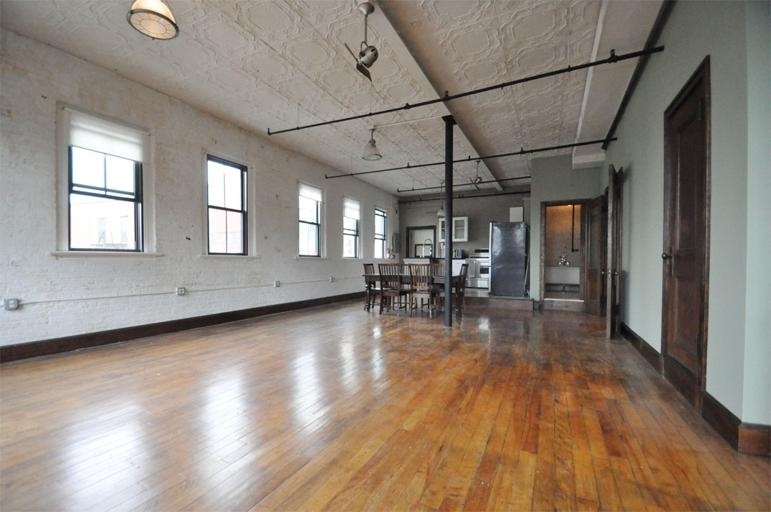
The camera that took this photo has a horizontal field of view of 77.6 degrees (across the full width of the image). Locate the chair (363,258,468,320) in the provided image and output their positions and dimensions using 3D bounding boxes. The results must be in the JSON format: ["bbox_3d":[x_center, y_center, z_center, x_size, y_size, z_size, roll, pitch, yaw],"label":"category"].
[{"bbox_3d":[0.438,0.665,9.800,1.678,1.055,1.924,-2,5,-22],"label":"chair"}]

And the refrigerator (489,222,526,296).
[{"bbox_3d":[2.733,0.071,10.805,0.763,1.607,0.456,1,5,13],"label":"refrigerator"}]

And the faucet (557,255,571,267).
[{"bbox_3d":[4.428,0.135,11.892,0.097,0.258,0.264,5,-5,-44],"label":"faucet"}]
